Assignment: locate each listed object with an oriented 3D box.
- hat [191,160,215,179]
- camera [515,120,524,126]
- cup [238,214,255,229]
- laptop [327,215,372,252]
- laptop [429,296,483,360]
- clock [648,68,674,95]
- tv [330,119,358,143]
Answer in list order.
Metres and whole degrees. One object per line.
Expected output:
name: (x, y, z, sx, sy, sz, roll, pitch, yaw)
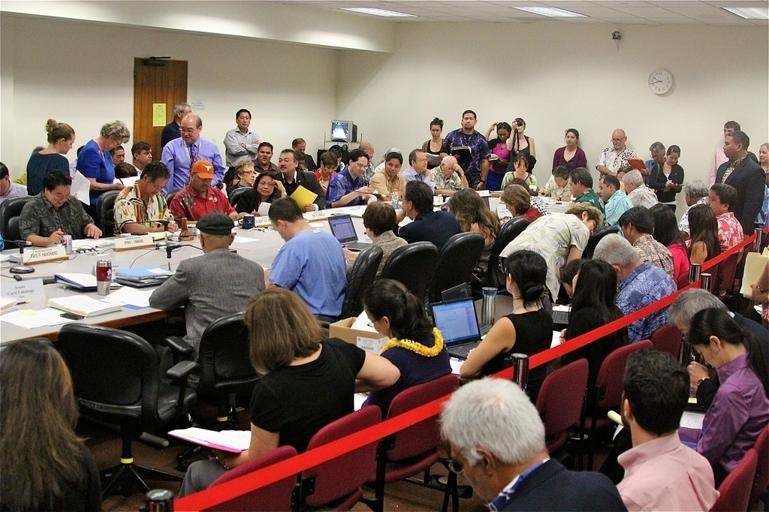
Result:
hat: (-1.879, -0.893, 5.580, 0.168, 0.132, 0.238, 1, 20, -41)
camera: (2.640, -2.625, 10.667, 0.123, 0.164, 0.086, 1, 4, 5)
cup: (-1.472, -0.353, 5.753, 0.166, 0.153, 0.106, 1, 6, -9)
laptop: (-0.281, -0.251, 5.296, 0.409, 0.289, 0.391, -1, 7, 28)
laptop: (0.535, 0.432, 3.311, 0.462, 0.301, 0.384, -3, 0, -30)
clock: (5.179, -3.274, 10.132, 0.519, 0.546, 0.072, 3, 12, 45)
tv: (-0.972, -2.825, 12.572, 0.583, 0.448, 0.608, 1, 4, 13)
